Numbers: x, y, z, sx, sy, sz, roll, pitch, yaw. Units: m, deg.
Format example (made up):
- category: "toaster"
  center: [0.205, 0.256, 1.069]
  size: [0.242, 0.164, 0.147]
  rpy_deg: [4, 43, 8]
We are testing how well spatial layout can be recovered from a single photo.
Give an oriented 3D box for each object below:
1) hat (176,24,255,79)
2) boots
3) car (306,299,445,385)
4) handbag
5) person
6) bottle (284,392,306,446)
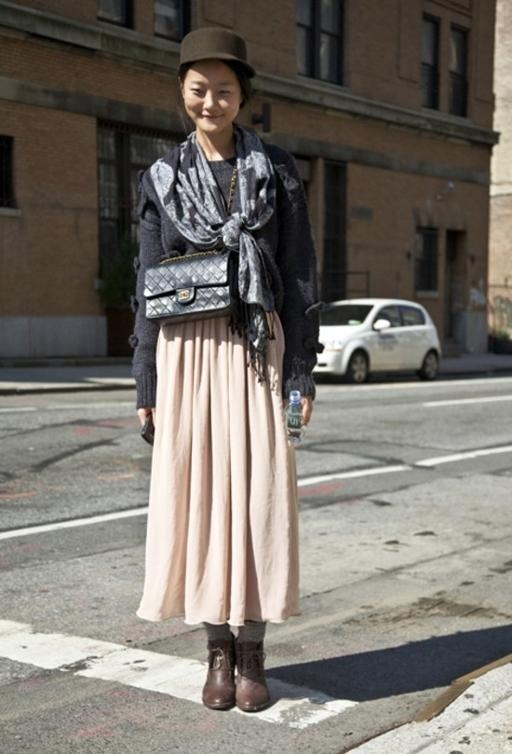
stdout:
- category: "hat"
  center: [-0.139, -1.043, 3.995]
  size: [0.245, 0.154, 0.302]
  rpy_deg: [4, 2, -12]
- category: "boots"
  center: [-0.065, 0.955, 3.951]
  size: [0.139, 0.116, 0.257]
  rpy_deg: [-1, 5, 1]
- category: "car"
  center: [1.457, -0.544, 17.428]
  size: [1.218, 1.054, 2.016]
  rpy_deg: [-2, -3, 38]
- category: "handbag"
  center: [-0.215, -0.289, 3.921]
  size: [0.314, 0.237, 0.167]
  rpy_deg: [1, 4, 6]
- category: "person"
  center: [-0.101, 0.106, 4.004]
  size: [0.601, 1.883, 0.432]
  rpy_deg: [0, 4, -6]
- category: "bottle"
  center: [0.122, 0.127, 3.976]
  size: [0.055, 0.179, 0.137]
  rpy_deg: [1, 4, 1]
